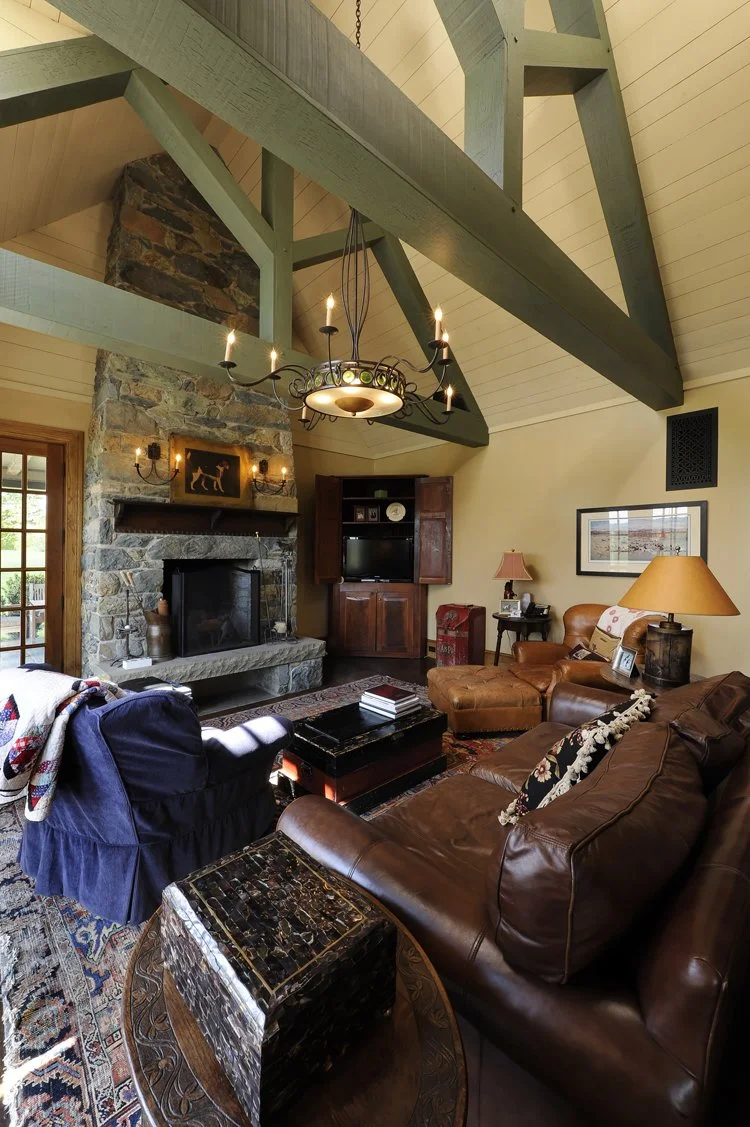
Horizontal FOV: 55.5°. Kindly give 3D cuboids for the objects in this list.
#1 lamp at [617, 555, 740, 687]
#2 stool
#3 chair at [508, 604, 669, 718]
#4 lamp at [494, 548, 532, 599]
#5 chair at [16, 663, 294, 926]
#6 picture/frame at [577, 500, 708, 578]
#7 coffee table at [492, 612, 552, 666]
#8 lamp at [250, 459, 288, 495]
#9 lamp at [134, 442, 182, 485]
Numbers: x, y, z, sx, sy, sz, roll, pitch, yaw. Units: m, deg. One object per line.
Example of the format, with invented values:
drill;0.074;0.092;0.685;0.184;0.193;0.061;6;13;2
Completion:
lamp;1.133;0.229;2.772;0.518;0.559;0.535;2;0;-3
stool;0.561;0.719;3.681;0.308;0.212;0.454;-2;4;-17
chair;1.064;0.595;3.888;0.744;0.735;0.723;10;3;35
lamp;1.029;0.083;5.267;0.262;0.294;0.588;-2;1;12
chair;-0.674;0.622;2.401;0.761;0.794;0.767;6;20;15
picture/frame;1.679;-0.143;4.540;0.819;0.481;0.035;-1;-7;36
coffee table;1.079;0.517;5.198;0.436;0.444;0.433;1;-1;-39
lamp;-0.727;-0.592;4.877;0.069;0.228;0.367;-1;1;27
lamp;-1.261;-0.573;4.121;0.070;0.257;0.294;-1;1;36
